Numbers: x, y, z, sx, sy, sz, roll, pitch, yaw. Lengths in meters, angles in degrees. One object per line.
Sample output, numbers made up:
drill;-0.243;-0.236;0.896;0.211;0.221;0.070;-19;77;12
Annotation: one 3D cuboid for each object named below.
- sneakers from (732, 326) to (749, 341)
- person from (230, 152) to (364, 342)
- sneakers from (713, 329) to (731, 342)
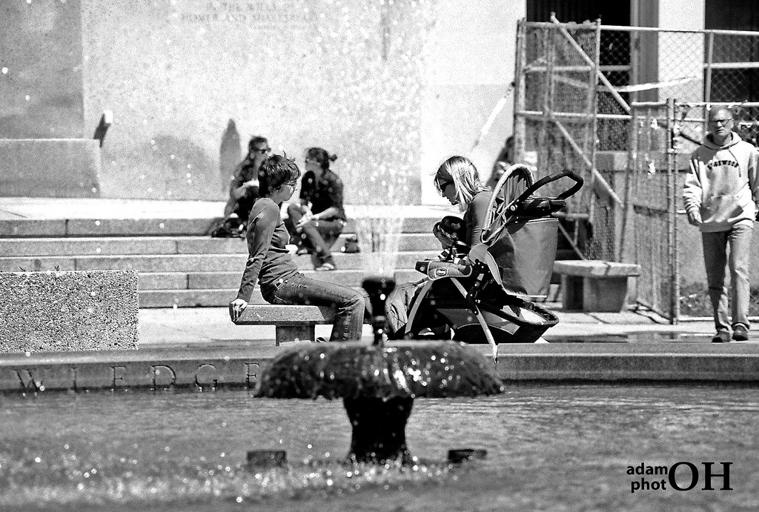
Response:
sneakers;4.373;0.912;24.332;0.168;0.192;0.167;-1;3;-2
person;-0.985;-0.095;23.148;1.464;2.124;0.404;-1;3;-5
sneakers;4.120;0.966;24.256;0.111;0.113;0.281;-6;-9;38
